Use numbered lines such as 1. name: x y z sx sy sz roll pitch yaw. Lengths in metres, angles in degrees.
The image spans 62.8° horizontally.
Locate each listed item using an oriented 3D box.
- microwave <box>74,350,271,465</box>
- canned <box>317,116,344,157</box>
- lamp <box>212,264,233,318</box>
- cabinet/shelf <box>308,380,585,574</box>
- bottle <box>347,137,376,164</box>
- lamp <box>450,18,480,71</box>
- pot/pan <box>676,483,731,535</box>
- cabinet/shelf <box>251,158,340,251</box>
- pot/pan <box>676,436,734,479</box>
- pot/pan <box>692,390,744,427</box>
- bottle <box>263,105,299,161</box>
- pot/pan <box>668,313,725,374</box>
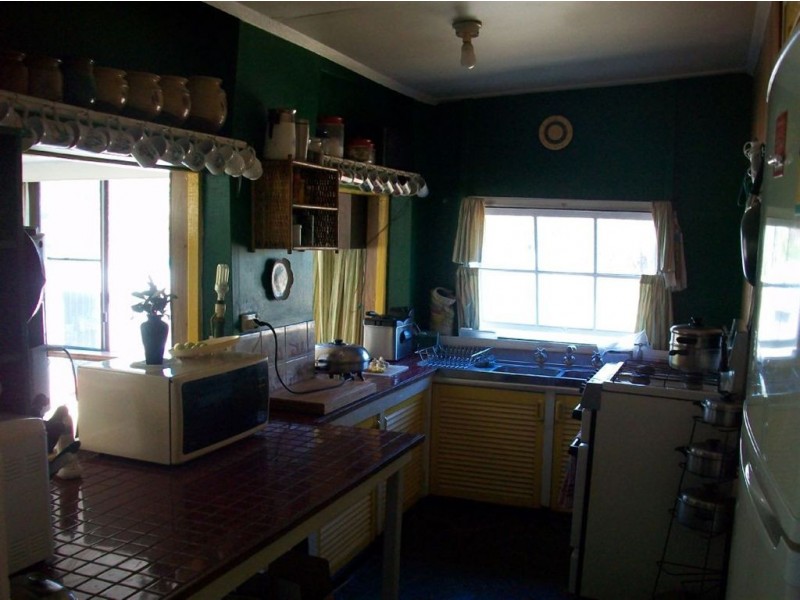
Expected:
1. microwave: -0.984 0.441 2.831 0.437 0.360 0.586 1 4 18
2. canned: -0.427 -1.008 4.068 0.155 0.241 0.179 5 11 -9
3. lamp: -0.966 -0.048 3.550 0.086 0.286 0.173 4 11 -16
4. cabinet/shelf: 0.523 1.093 4.546 1.141 0.521 1.187 0 5 21
5. bottle: -0.260 -1.002 4.429 0.149 0.157 0.205 13 12 29
6. lamp: 0.387 -1.451 3.776 0.179 0.232 0.180 1 7 40
7. pot/pan: 1.413 0.974 3.054 0.207 0.211 0.215 3 5 31
8. cabinet/shelf: -0.595 -0.529 3.832 0.219 0.534 0.619 4 7 17
9. pot/pan: 1.462 0.730 3.144 0.192 0.141 0.207 2 3 9
10. pot/pan: 1.527 0.524 3.147 0.122 0.085 0.158 -1 2 -3
11. bottle: -0.653 -0.901 3.609 0.171 0.273 0.268 4 10 14
12. pot/pan: 1.640 0.259 3.694 0.314 0.275 0.244 2 3 33
